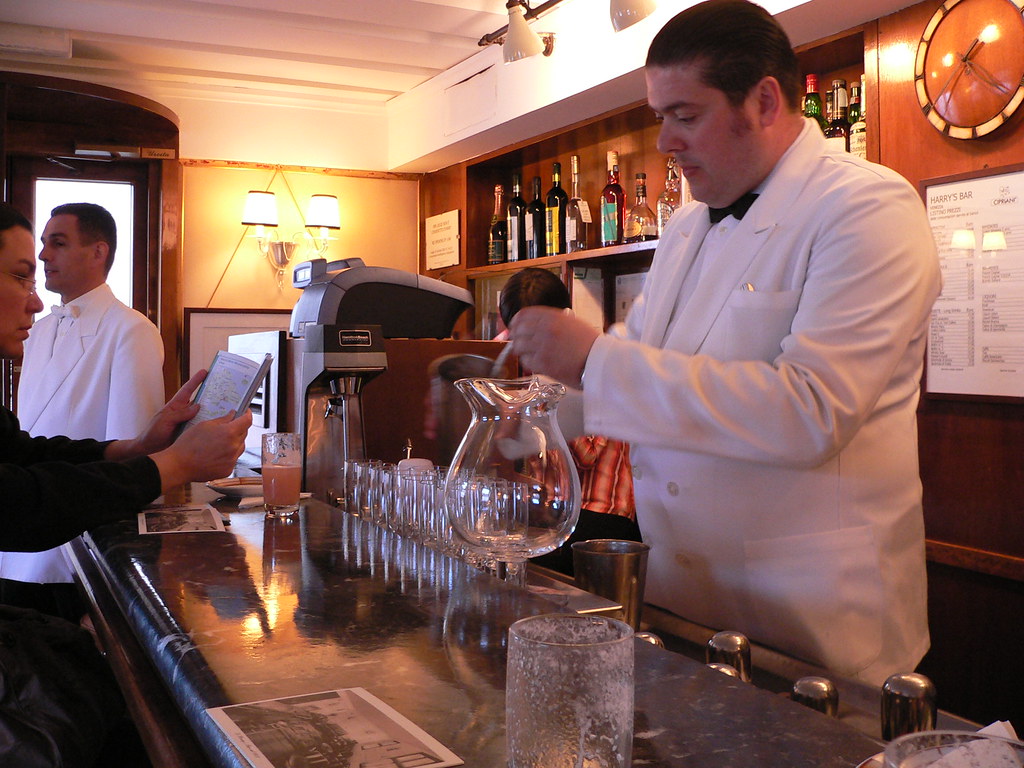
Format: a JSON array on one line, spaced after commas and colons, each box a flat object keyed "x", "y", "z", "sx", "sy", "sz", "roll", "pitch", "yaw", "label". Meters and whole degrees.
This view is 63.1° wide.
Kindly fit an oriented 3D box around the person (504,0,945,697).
[{"x": 0.469, "y": -0.094, "z": 1.627, "sx": 0.674, "sy": 1.284, "sz": 0.510, "roll": 4, "pitch": 10, "yaw": 28, "label": "person"}]

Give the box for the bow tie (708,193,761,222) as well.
[{"x": 0.475, "y": -0.377, "z": 1.796, "sx": 0.056, "sy": 0.044, "sz": 0.057, "roll": -9, "pitch": 7, "yaw": 23, "label": "bow tie"}]

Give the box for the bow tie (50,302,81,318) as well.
[{"x": -1.840, "y": -0.301, "z": 3.438, "sx": 0.167, "sy": 0.065, "sz": 0.069, "roll": 0, "pitch": 3, "yaw": 27, "label": "bow tie"}]

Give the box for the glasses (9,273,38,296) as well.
[{"x": -1.372, "y": -0.284, "z": 2.343, "sx": 0.038, "sy": 0.044, "sz": 0.049, "roll": -6, "pitch": -8, "yaw": -9, "label": "glasses"}]

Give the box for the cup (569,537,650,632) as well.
[{"x": 0.156, "y": 0.296, "z": 1.283, "sx": 0.128, "sy": 0.146, "sz": 0.133, "roll": 0, "pitch": -4, "yaw": 0, "label": "cup"}]

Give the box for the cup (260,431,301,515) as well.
[{"x": -0.555, "y": 0.209, "z": 2.006, "sx": 0.086, "sy": 0.175, "sz": 0.190, "roll": -3, "pitch": 9, "yaw": -18, "label": "cup"}]
